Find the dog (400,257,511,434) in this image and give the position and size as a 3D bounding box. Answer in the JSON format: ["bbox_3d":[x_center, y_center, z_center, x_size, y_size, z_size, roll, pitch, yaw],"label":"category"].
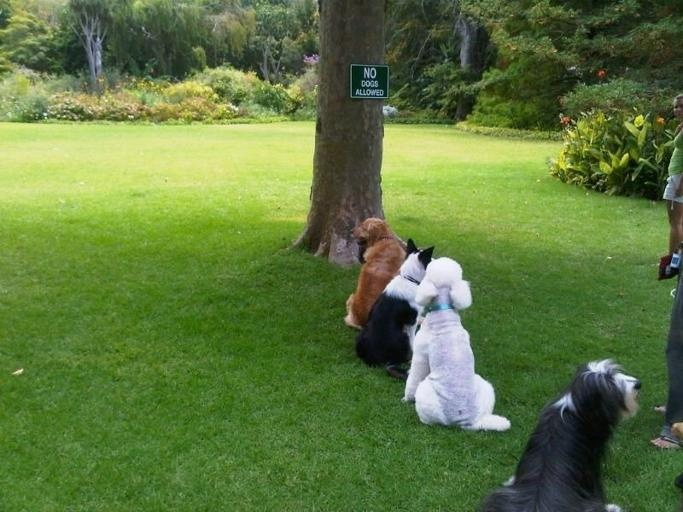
[{"bbox_3d":[1.119,0.867,5.572,0.926,1.603,0.476,4,15,7],"label":"dog"}]

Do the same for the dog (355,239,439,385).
[{"bbox_3d":[0.611,0.523,6.578,0.714,1.211,1.607,24,51,15],"label":"dog"}]
